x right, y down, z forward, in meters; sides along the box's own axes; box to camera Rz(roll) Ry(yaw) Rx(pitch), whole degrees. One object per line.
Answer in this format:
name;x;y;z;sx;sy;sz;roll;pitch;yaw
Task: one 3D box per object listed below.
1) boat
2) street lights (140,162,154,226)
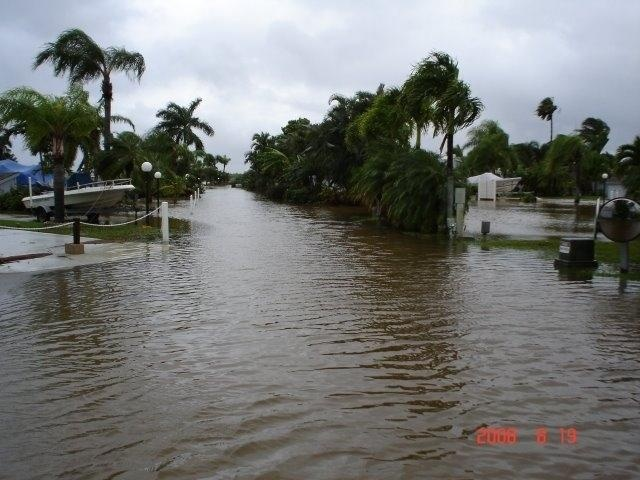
boat;-12.019;-1.965;27.062;4.303;2.076;4.904;-9;13;-38
street lights;-7.243;-1.852;22.277;0.666;2.735;0.669;-4;3;-13
